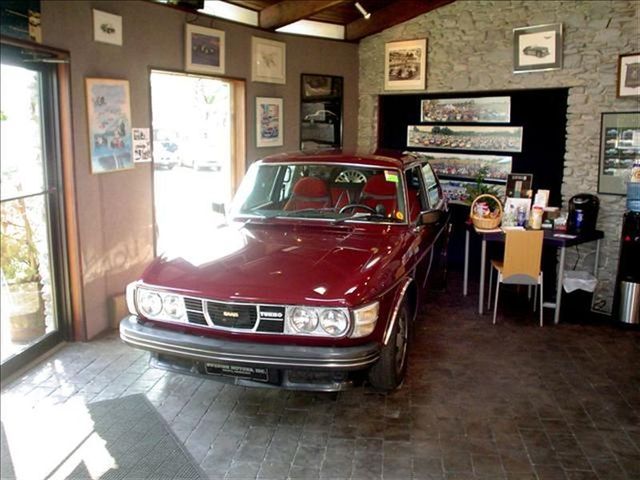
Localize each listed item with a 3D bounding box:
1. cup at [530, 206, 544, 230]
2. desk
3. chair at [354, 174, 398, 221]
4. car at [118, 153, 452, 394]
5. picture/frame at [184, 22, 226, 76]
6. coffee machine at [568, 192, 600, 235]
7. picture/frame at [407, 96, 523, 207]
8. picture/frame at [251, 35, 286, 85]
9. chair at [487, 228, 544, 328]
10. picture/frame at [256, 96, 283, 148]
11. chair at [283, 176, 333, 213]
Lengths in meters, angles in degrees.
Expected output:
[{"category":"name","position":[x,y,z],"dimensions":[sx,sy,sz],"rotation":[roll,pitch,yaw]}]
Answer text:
[{"category":"cup","position":[2.698,-0.280,5.413],"dimensions":[0.134,0.270,0.249],"rotation":[7,15,27]},{"category":"desk","position":[2.776,0.362,5.792],"dimensions":[1.444,0.987,1.486],"rotation":[2,6,17]},{"category":"chair","position":[0.558,-0.432,4.048],"dimensions":[0.412,0.422,0.508],"rotation":[4,34,8]},{"category":"car","position":[0.170,-0.133,4.006],"dimensions":[1.958,1.151,3.141],"rotation":[6,16,22]},{"category":"picture/frame","position":[-1.600,-2.610,5.892],"dimensions":[0.081,0.542,0.684],"rotation":[20,26,28]},{"category":"coffee machine","position":[3.222,-0.315,5.309],"dimensions":[0.315,0.464,0.427],"rotation":[7,15,28]},{"category":"picture/frame","position":[2.227,-1.310,6.394],"dimensions":[2.341,2.021,0.025],"rotation":[4,9,41]},{"category":"picture/frame","position":[-0.834,-2.869,6.871],"dimensions":[0.788,0.631,0.053],"rotation":[26,38,34]},{"category":"chair","position":[2.428,0.377,5.245],"dimensions":[0.662,1.158,0.995],"rotation":[5,15,20]},{"category":"picture/frame","position":[-0.861,-1.953,7.026],"dimensions":[0.063,0.839,0.811],"rotation":[4,18,32]},{"category":"chair","position":[-0.085,-0.448,4.317],"dimensions":[0.386,0.368,0.470],"rotation":[4,9,9]}]
